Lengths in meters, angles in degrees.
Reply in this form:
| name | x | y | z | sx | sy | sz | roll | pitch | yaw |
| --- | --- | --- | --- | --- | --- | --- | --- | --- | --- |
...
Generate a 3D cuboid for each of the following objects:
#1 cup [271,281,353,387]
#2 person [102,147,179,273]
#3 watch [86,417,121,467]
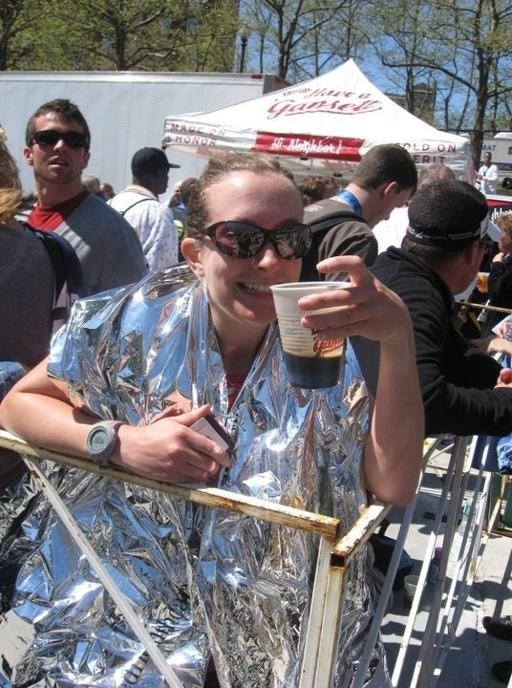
| name | x | y | z | sx | sy | sz | roll | pitch | yaw |
| --- | --- | --- | --- | --- | --- | --- | --- | --- | --- |
| cup | 0.093 | -0.014 | 1.333 | 0.217 | 0.210 | 0.198 | -3 | 14 | 1 |
| person | -0.824 | -1.017 | 5.114 | 0.567 | 0.916 | 0.690 | -11 | 34 | -25 |
| watch | -0.339 | 0.214 | 1.490 | 0.089 | 0.082 | 0.091 | -2 | 18 | -7 |
